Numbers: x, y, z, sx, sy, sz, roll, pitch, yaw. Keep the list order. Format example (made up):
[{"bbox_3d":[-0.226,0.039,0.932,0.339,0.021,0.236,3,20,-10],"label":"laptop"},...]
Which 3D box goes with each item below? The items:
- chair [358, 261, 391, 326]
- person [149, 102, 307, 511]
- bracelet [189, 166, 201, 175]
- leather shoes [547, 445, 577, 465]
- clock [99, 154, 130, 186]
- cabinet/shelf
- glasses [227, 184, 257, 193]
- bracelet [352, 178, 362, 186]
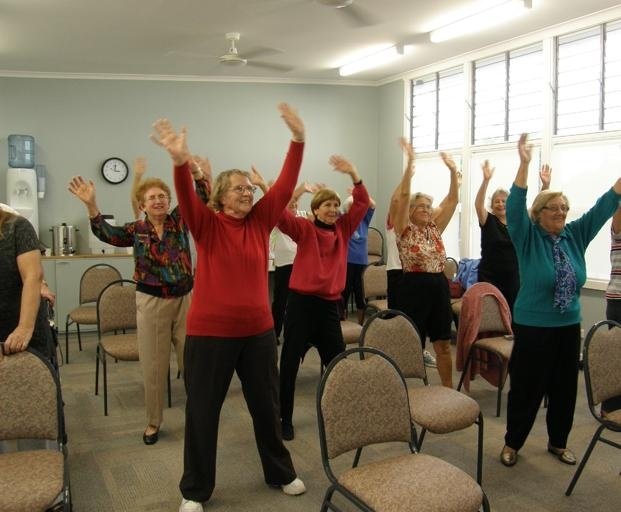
[{"bbox_3d":[0.659,0.335,5.168,0.365,0.726,0.465,2,-6,-15],"label":"chair"},{"bbox_3d":[-0.387,0.292,2.626,0.725,2.106,0.240,-4,6,-29],"label":"person"},{"bbox_3d":[-0.622,-0.469,2.797,0.032,0.027,0.033,6,-9,-28],"label":"bracelet"},{"bbox_3d":[1.584,1.265,3.229,0.060,0.064,0.163,-4,-4,-18],"label":"leather shoes"},{"bbox_3d":[-2.607,-1.147,6.746,0.367,0.463,0.056,-1,-2,-26],"label":"clock"},{"bbox_3d":[-2.736,0.275,6.643,1.274,1.337,0.802,-1,0,-21],"label":"cabinet/shelf"},{"bbox_3d":[-0.327,-0.345,2.642,0.067,0.043,0.188,1,5,18],"label":"glasses"},{"bbox_3d":[0.310,-0.505,3.402,0.053,0.043,0.056,-20,-1,-6],"label":"bracelet"}]
